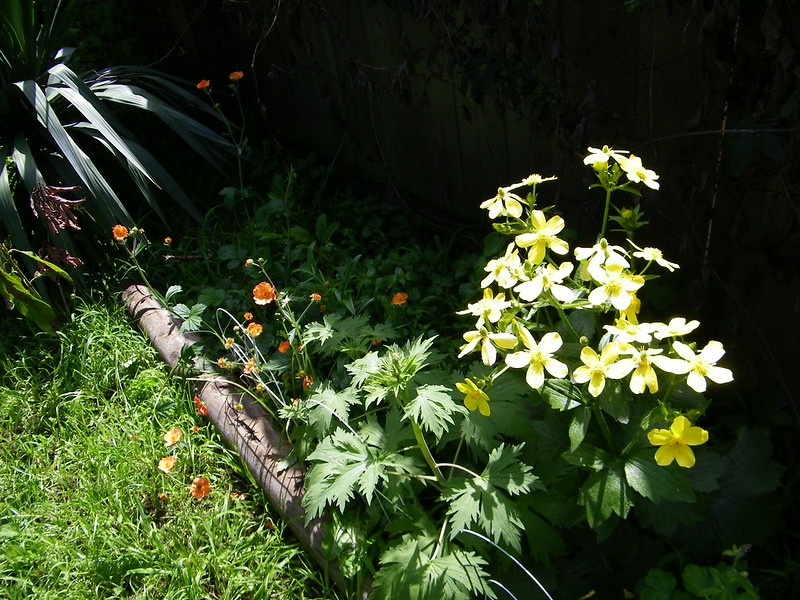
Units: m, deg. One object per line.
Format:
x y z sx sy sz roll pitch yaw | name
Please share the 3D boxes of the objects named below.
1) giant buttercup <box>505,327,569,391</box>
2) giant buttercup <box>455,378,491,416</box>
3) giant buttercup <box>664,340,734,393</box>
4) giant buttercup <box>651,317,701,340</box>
0.389 0.170 1.685 0.165 0.189 0.065 25 -5 12 | giant buttercup
0.213 0.273 1.741 0.108 0.048 0.119 24 14 38 | giant buttercup
0.796 0.178 1.588 0.119 0.039 0.137 -6 13 -9 | giant buttercup
0.891 0.098 1.917 0.079 0.026 0.087 -14 24 -1 | giant buttercup
